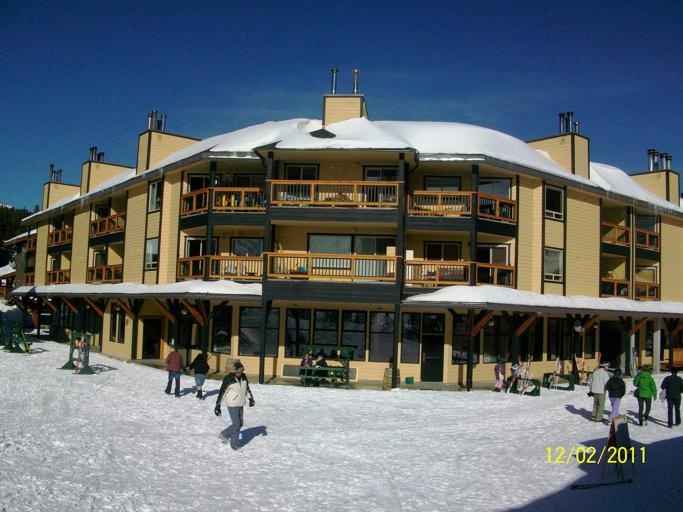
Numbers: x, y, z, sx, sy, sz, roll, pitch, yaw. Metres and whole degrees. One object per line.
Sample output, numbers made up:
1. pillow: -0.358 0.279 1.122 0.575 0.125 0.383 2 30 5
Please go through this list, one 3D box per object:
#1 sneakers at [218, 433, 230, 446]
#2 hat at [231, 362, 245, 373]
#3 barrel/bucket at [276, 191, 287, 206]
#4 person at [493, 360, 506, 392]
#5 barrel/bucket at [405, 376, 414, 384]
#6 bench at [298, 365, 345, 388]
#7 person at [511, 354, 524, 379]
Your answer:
1. sneakers: -3.564 5.570 21.293 0.286 0.140 0.415 26 2 -8
2. hat: -3.071 3.352 21.059 0.372 0.335 0.447 0 -10 -21
3. barrel/bucket: -2.850 -2.733 32.708 0.453 0.635 0.746 3 15 -22
4. person: 6.864 5.221 30.316 0.477 1.196 2.416 -1 -7 12
5. barrel/bucket: 3.104 5.666 31.910 0.352 0.274 0.308 0 -3 9
6. bench: -0.788 5.182 30.313 2.064 0.853 1.748 1 -7 -5
7. person: 7.511 4.778 30.028 0.403 1.079 0.984 -1 -8 13
